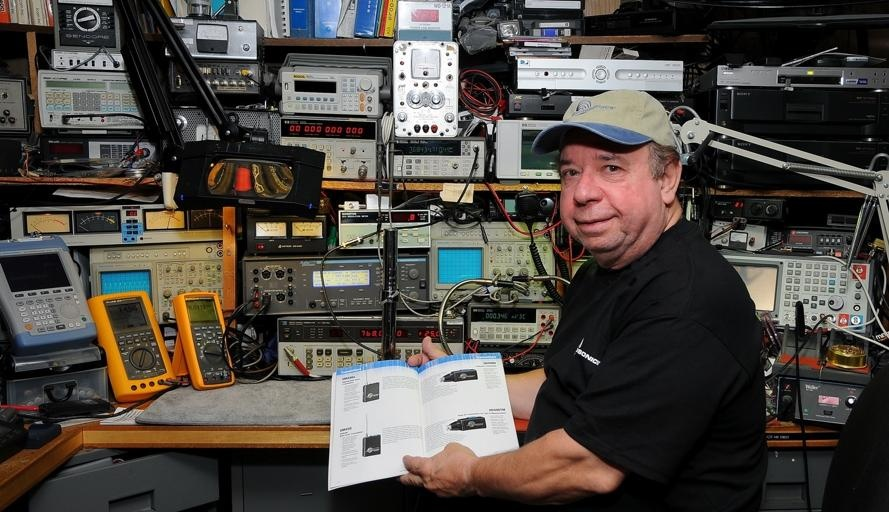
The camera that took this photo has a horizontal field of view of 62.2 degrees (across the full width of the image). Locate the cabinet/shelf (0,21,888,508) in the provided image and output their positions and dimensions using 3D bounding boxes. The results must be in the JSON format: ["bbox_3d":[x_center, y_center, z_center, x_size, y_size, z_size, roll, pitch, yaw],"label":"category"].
[{"bbox_3d":[0.330,0.279,4.145,5.167,1.685,1.473,-1,2,2],"label":"cabinet/shelf"}]

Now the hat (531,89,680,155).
[{"bbox_3d":[0.781,-0.636,3.445,0.507,0.190,0.351,-4,2,-33],"label":"hat"}]
